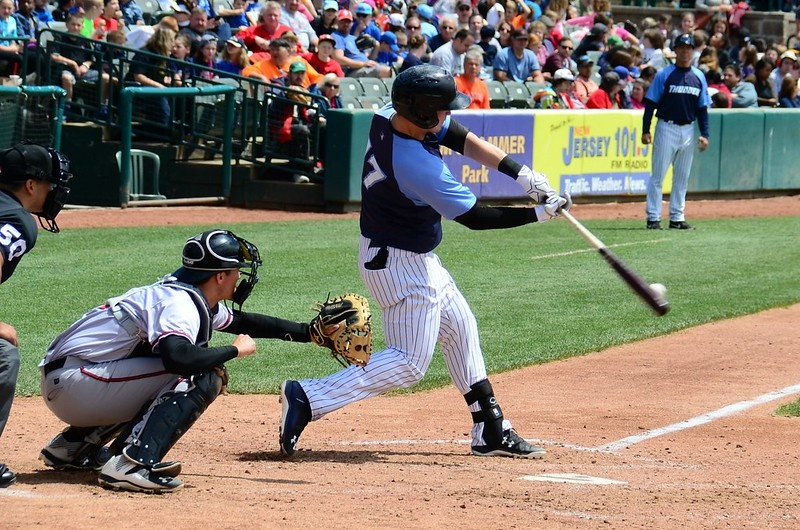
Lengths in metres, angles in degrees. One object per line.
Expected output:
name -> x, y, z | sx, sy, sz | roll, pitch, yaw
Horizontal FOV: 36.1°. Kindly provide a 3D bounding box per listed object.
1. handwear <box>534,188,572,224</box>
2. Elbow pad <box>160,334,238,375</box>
handwear -> 1.124, -0.436, 9.030 | 0.262, 0.117, 0.199 | -22, 6, 31
Elbow pad -> -1.397, 0.615, 8.458 | 0.549, 0.298, 0.208 | -1, 6, -16
